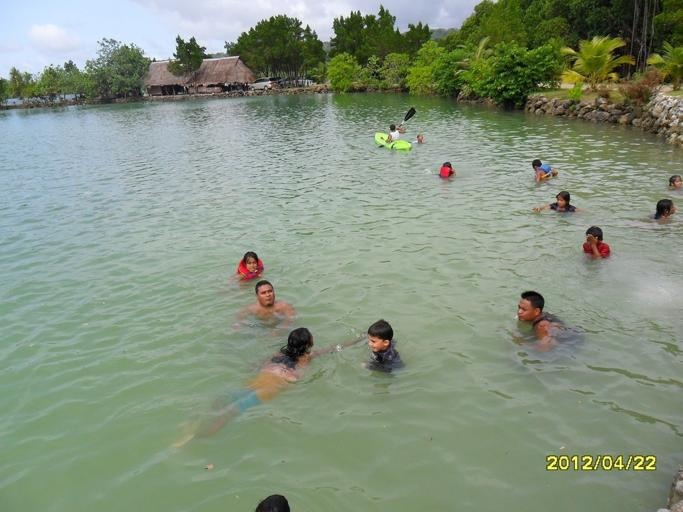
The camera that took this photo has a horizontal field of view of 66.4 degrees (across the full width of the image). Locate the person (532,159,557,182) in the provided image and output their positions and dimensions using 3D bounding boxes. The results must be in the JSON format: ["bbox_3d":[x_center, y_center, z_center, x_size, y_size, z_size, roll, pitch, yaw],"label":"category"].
[{"bbox_3d":[8.045,-3.409,20.331,1.632,0.743,0.600,-18,26,-37],"label":"person"}]

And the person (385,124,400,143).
[{"bbox_3d":[2.849,-6.823,28.989,0.629,0.868,1.476,-1,20,4],"label":"person"}]

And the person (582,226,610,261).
[{"bbox_3d":[6.647,-0.330,13.573,0.704,0.879,0.785,0,20,18],"label":"person"}]

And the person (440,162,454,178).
[{"bbox_3d":[4.306,-3.520,21.393,0.573,0.585,0.801,2,21,10],"label":"person"}]

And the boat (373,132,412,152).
[{"bbox_3d":[2.719,-6.249,28.839,0.936,0.539,3.031,-33,30,-5],"label":"boat"}]

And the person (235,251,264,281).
[{"bbox_3d":[-2.369,0.268,13.594,0.557,0.788,0.806,9,16,-2],"label":"person"}]

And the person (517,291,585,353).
[{"bbox_3d":[4.325,1.403,11.113,1.310,1.217,1.051,1,-3,-14],"label":"person"}]

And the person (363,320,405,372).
[{"bbox_3d":[0.846,1.768,10.299,0.667,0.992,0.379,-1,21,4],"label":"person"}]
